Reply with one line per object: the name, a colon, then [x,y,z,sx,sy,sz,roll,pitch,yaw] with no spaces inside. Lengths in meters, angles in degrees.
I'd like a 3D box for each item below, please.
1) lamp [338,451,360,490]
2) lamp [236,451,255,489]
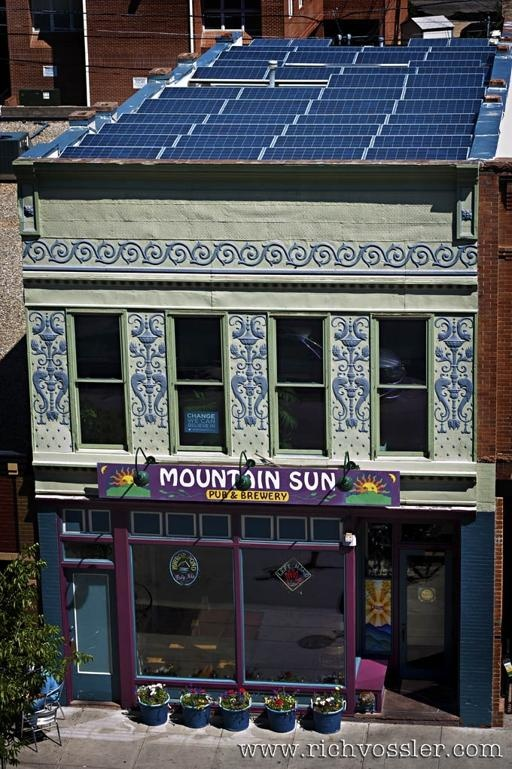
lamp: [1.645,1.580,32.972,0.309,0.711,0.472,-2,2,28]
lamp: [-0.187,1.567,33.264,0.341,0.690,0.421,-2,2,22]
